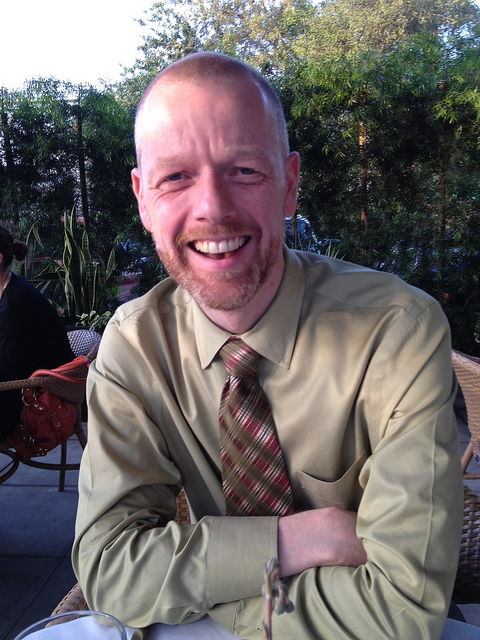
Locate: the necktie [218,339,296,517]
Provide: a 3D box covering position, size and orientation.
[{"bbox_3d":[0.026,0.212,1.008,0.134,0.326,0.160,-3,8,-3],"label":"necktie"}]

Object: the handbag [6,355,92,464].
[{"bbox_3d":[-0.918,0.459,2.373,0.405,0.496,0.256,-5,8,-18],"label":"handbag"}]
